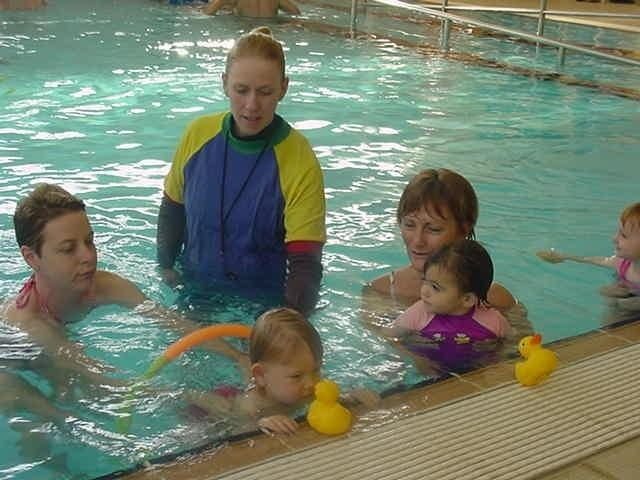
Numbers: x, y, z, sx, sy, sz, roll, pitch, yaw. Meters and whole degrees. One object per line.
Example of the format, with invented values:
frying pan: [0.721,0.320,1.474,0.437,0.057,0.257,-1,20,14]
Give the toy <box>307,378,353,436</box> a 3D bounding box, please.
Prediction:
toy: [0.013,0.712,2.567,0.276,0.196,0.231,-4,23,-9]
